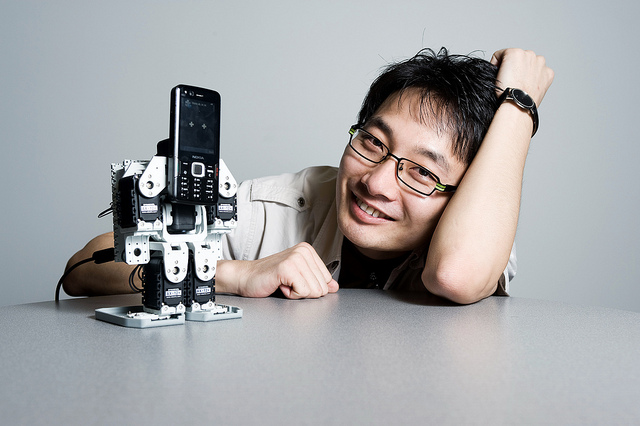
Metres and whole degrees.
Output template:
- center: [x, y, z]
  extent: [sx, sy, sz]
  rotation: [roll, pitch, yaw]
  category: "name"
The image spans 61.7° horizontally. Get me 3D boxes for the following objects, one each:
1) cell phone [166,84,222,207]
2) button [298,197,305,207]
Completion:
- center: [-0.274, -0.146, 1.151]
  extent: [0.114, 0.252, 0.056]
  rotation: [-1, 5, -18]
  category: "cell phone"
- center: [-0.066, -0.041, 1.928]
  extent: [0.026, 0.027, 0.008]
  rotation: [-1, -6, -36]
  category: "button"
